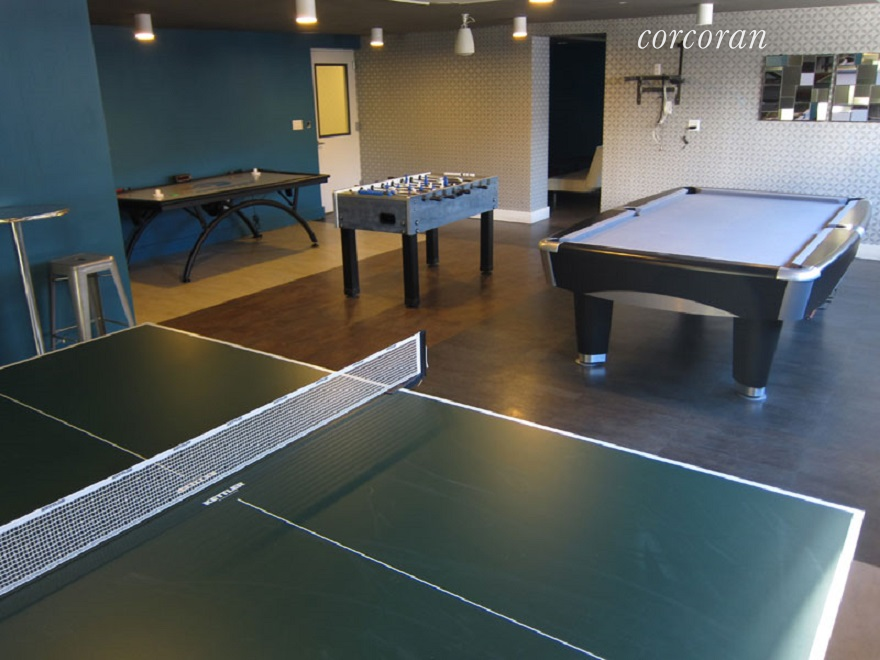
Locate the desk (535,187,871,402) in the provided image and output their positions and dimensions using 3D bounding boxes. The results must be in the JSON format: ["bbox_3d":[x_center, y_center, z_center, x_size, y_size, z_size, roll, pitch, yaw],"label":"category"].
[{"bbox_3d":[2.188,-0.718,4.694,1.603,0.786,2.435,13,32,36],"label":"desk"}]

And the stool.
[{"bbox_3d":[-2.657,-0.180,4.489,0.515,0.584,0.490,2,6,-22],"label":"stool"}]

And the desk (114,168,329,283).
[{"bbox_3d":[-2.637,-1.309,7.423,2.290,0.928,1.777,-19,27,-39],"label":"desk"}]
